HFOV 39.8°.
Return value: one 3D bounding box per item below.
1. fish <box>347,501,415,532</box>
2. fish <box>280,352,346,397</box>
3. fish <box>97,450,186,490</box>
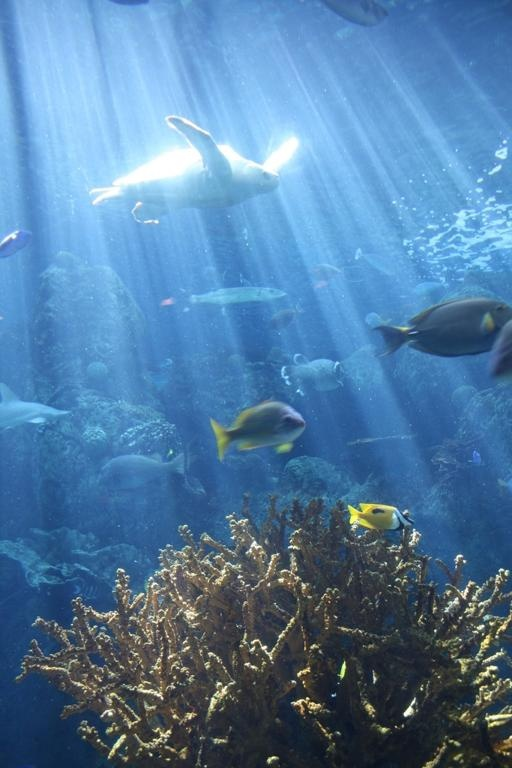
[{"bbox_3d":[1.446,1.557,8.309,0.674,0.394,0.276,-18,-20,7],"label":"fish"},{"bbox_3d":[1.498,-0.289,19.269,1.507,1.113,1.542,-3,8,-19],"label":"fish"},{"bbox_3d":[-2.521,1.860,15.510,1.711,0.674,0.590,-8,-21,-21],"label":"fish"}]
